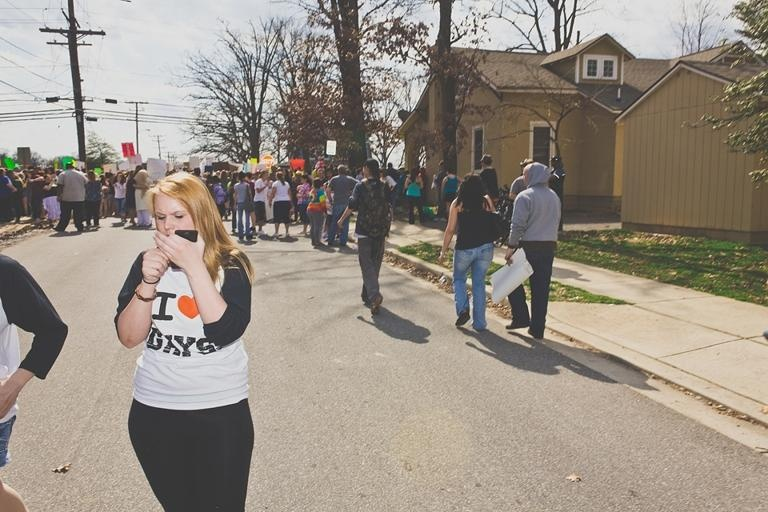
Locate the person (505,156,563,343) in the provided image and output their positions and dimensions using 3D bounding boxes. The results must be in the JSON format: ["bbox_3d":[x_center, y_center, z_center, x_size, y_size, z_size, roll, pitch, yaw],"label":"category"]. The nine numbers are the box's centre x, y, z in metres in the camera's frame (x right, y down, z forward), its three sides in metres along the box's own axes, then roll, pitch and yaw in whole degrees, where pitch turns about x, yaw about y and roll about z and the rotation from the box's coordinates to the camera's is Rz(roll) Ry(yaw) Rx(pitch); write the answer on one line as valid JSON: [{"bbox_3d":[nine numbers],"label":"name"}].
[{"bbox_3d":[2.191,-0.116,7.999,0.679,2.531,0.726,4,11,21],"label":"person"}]

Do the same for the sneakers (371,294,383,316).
[{"bbox_3d":[-0.139,0.783,9.020,0.156,0.338,0.250,-1,11,-6],"label":"sneakers"}]

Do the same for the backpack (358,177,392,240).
[{"bbox_3d":[-0.189,-0.844,9.406,0.607,1.008,0.456,-1,10,-4],"label":"backpack"}]

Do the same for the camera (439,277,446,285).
[{"bbox_3d":[1.257,0.512,11.540,0.035,0.134,0.136,24,-11,-29],"label":"camera"}]
